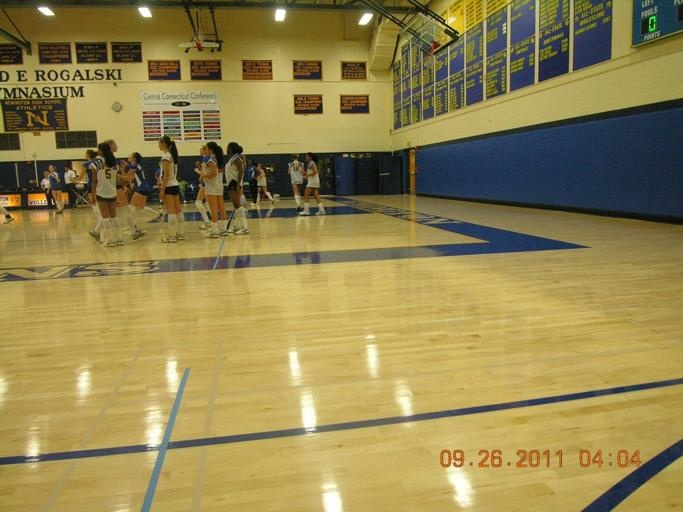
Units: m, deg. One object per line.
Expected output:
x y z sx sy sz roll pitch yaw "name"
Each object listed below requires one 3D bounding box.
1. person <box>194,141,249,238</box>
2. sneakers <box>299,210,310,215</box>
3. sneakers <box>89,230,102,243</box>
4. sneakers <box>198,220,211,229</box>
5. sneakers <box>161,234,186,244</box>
-1.902 -1.061 7.702 0.725 1.482 1.751 -5 13 -13 "person"
-0.837 -0.965 10.795 0.218 0.093 0.429 -3 12 -7 "sneakers"
-3.891 -0.294 7.528 0.268 0.111 0.084 37 4 31 "sneakers"
-2.546 -0.591 8.841 0.180 0.130 0.346 -6 10 -34 "sneakers"
-2.557 -0.246 7.124 0.235 0.085 0.145 -2 3 11 "sneakers"
